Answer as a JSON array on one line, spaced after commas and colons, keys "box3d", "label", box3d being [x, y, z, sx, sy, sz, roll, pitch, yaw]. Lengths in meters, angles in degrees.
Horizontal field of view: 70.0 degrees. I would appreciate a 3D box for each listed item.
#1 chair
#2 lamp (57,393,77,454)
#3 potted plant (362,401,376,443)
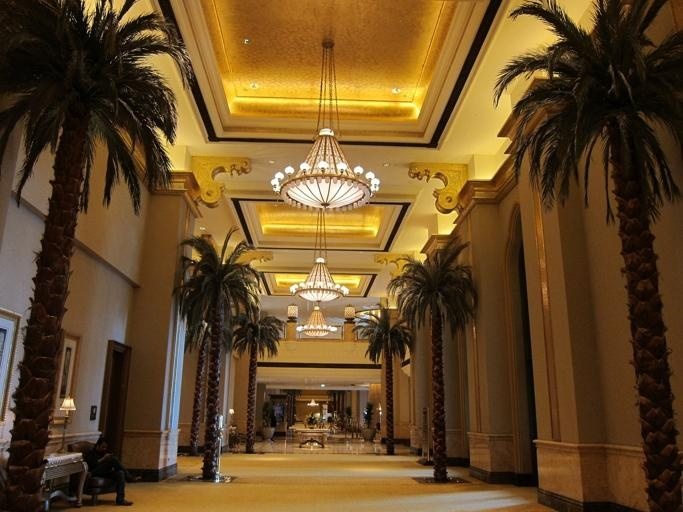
[{"box3d": [-4.888, 4.310, 9.610, 0.877, 1.224, 0.719, -35, -35, 11], "label": "chair"}, {"box3d": [-5.342, 3.229, 9.525, 0.210, 0.730, 0.230, -4, -23, 9], "label": "lamp"}, {"box3d": [2.484, 14.468, 42.910, 1.194, 3.401, 1.301, 8, -12, -23], "label": "potted plant"}]
